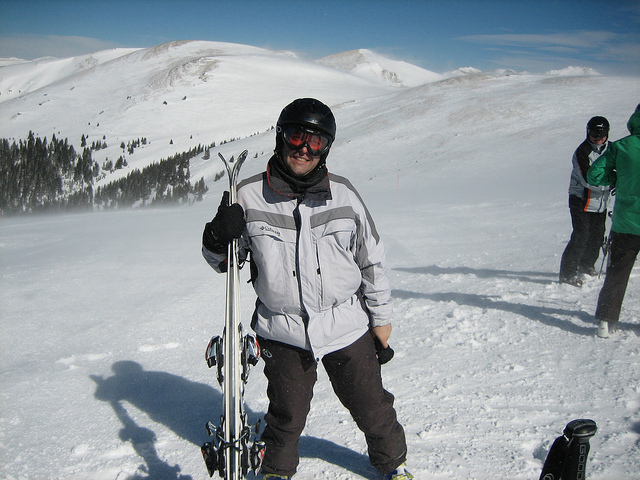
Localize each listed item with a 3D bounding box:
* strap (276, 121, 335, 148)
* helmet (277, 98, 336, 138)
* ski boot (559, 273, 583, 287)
[{"bbox_3d":[-0.146,-1.034,5.675,0.418,0.194,0.243,-11,15,-35],"label":"strap"},{"bbox_3d":[-0.111,-1.227,5.734,0.494,0.415,0.261,-13,27,-32],"label":"helmet"},{"bbox_3d":[3.992,0.632,9.406,0.147,0.185,0.426,-1,9,-20],"label":"ski boot"}]
